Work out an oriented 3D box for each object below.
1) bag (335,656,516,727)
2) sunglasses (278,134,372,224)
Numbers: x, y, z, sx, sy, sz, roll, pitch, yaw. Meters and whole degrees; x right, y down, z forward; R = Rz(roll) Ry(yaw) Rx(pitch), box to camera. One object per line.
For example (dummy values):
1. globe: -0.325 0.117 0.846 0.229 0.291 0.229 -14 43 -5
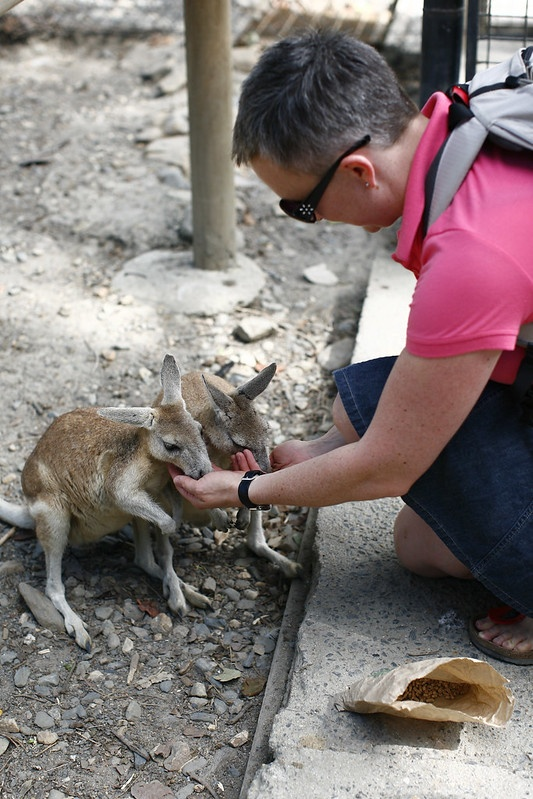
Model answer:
1. bag: 0.396 0.701 2.066 0.350 0.117 0.226 -6 -13 34
2. sunglasses: 0.119 -0.513 1.986 0.051 0.172 0.171 43 20 8
